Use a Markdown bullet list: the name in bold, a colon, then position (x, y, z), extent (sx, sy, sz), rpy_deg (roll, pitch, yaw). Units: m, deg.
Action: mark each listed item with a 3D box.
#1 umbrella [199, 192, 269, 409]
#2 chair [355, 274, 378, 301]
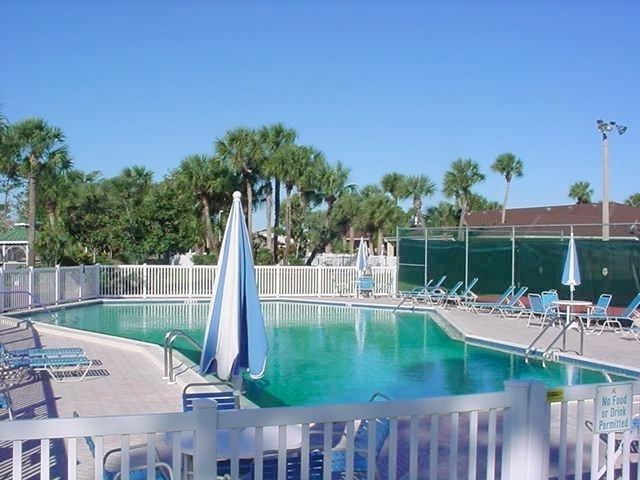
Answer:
- **umbrella**: position (-1.625, 0.911, 13.384), extent (1.215, 3.693, 0.652), rpy_deg (-1, -2, 1)
- **chair**: position (2.020, 1.996, 30.210), extent (0.785, 1.280, 0.828), rpy_deg (3, -9, -27)
